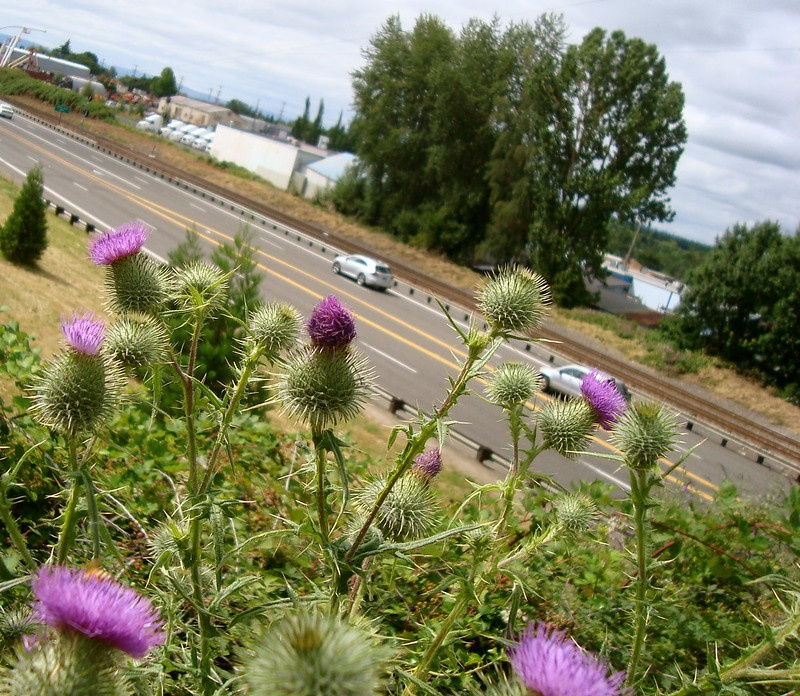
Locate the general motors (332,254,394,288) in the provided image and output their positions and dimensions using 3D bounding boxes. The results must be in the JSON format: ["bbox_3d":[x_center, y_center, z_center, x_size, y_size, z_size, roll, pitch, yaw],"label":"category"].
[{"bbox_3d":[-1.726,-3.456,30.261,2.674,1.057,1.222,34,26,32],"label":"general motors"}]

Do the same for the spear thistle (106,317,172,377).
[{"bbox_3d":[-1.293,-0.031,3.378,0.287,0.371,0.306,-8,14,-27],"label":"spear thistle"}]

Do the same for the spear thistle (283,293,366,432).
[{"bbox_3d":[-0.353,0.097,3.236,0.360,0.676,0.430,-1,21,-33],"label":"spear thistle"}]

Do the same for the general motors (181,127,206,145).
[{"bbox_3d":[-28.856,-29.534,96.768,2.069,2.296,4.572,7,22,10],"label":"general motors"}]

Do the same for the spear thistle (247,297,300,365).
[{"bbox_3d":[-0.680,-0.098,3.550,0.242,0.306,0.281,25,31,9],"label":"spear thistle"}]

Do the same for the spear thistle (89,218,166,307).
[{"bbox_3d":[-1.462,-0.344,3.654,0.322,0.567,0.319,-12,15,-34],"label":"spear thistle"}]
